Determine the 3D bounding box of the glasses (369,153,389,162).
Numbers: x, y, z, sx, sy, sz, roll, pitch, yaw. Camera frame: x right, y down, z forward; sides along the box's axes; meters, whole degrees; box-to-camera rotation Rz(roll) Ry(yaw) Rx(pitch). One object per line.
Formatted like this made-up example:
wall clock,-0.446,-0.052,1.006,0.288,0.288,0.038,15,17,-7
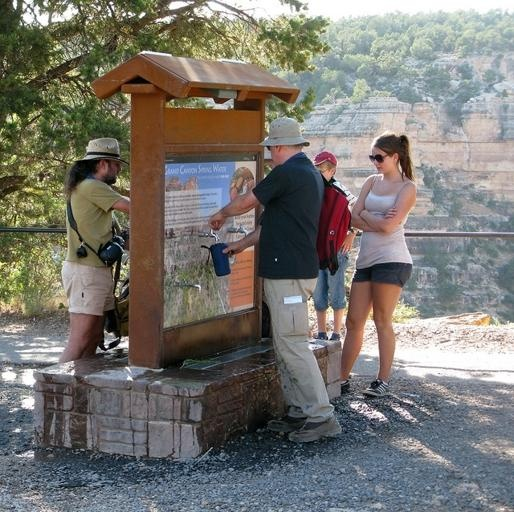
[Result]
glasses,0.812,-0.651,4.294,0.075,0.022,0.070,3,-1,-29

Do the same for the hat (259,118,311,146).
hat,0.147,-0.666,3.539,0.203,0.097,0.194,0,3,-3

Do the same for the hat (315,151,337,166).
hat,0.623,-0.868,5.801,0.213,0.105,0.143,11,7,-9

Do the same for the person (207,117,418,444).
person,0.146,0.131,3.428,0.595,1.758,0.320,-1,1,2

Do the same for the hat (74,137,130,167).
hat,-0.984,-0.670,4.172,0.236,0.103,0.258,3,0,3

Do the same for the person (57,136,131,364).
person,-1.033,-0.047,4.021,0.412,1.396,0.516,-1,1,-16

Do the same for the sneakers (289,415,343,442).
sneakers,0.316,0.942,3.504,0.315,0.135,0.119,-4,1,-27

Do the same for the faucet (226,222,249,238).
faucet,-0.130,-0.171,4.163,0.079,0.061,0.125,3,-5,4

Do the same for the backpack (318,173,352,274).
backpack,0.497,-0.185,4.385,0.241,0.565,0.462,4,7,-8
